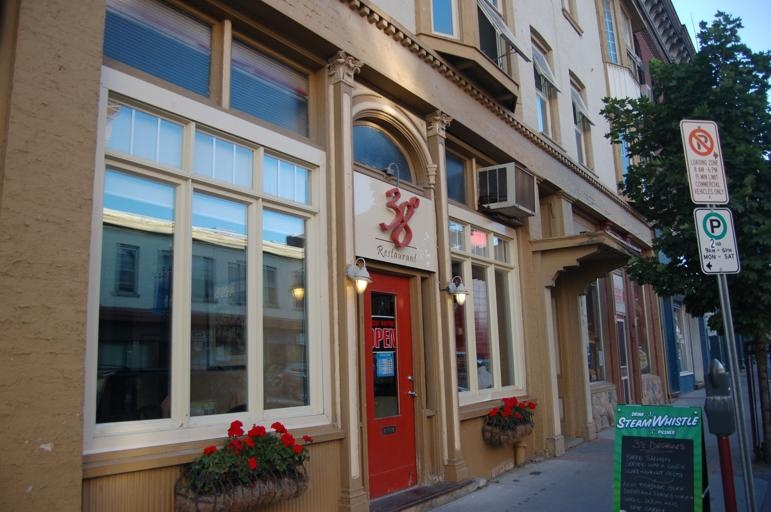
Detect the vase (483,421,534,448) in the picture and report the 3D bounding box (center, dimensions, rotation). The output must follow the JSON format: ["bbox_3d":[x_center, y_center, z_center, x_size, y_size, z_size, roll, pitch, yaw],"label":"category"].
[{"bbox_3d":[2.093,3.091,10.401,0.474,0.396,0.894,-17,-19,38],"label":"vase"}]

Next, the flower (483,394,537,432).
[{"bbox_3d":[2.204,2.725,10.495,0.537,0.380,0.732,-3,-7,43],"label":"flower"}]

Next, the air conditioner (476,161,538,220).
[{"bbox_3d":[2.366,-1.257,11.664,0.766,0.885,1.106,-16,-18,36],"label":"air conditioner"}]
